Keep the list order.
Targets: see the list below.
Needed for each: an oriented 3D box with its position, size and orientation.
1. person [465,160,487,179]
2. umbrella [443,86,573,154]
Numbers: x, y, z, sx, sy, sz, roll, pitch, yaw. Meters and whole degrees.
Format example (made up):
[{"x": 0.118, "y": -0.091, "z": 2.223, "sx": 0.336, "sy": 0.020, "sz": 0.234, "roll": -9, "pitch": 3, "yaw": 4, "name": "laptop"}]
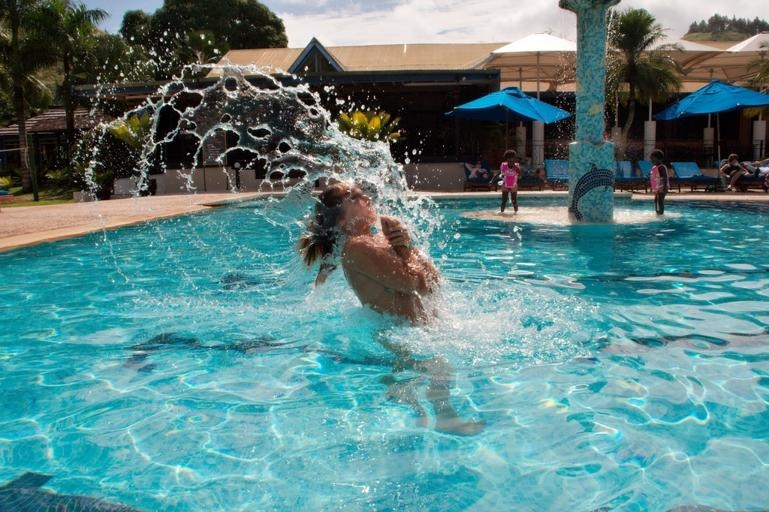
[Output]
[{"x": 3.401, "y": -3.212, "z": 19.321, "sx": 0.784, "sy": 0.271, "sz": 0.763, "roll": -2, "pitch": 41, "yaw": -2, "name": "person"}, {"x": 4.144, "y": -5.115, "z": 17.973, "sx": 2.823, "sy": 1.235, "sz": 2.609, "roll": -10, "pitch": 16, "yaw": -19, "name": "umbrella"}]
